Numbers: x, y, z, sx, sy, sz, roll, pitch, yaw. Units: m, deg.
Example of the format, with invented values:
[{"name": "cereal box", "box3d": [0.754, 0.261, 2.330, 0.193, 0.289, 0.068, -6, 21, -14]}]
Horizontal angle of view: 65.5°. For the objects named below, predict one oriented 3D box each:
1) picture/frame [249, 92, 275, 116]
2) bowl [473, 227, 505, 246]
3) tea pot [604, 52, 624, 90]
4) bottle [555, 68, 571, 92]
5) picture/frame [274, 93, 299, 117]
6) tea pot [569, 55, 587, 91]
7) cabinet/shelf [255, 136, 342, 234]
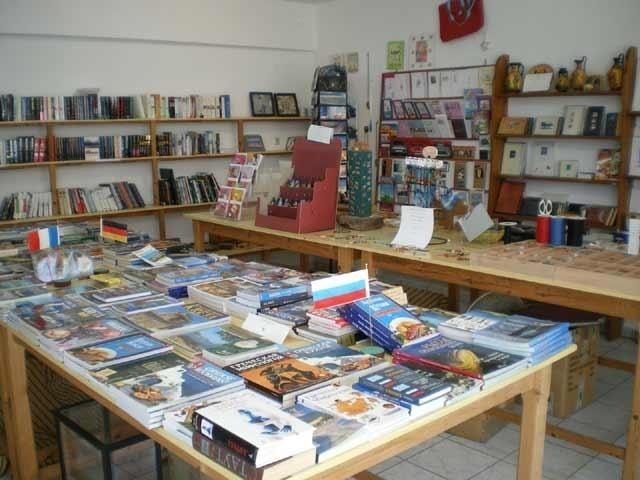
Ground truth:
[{"name": "picture/frame", "box3d": [-0.932, -2.188, 7.995, 0.524, 0.406, 0.179, -4, 5, -37]}, {"name": "bowl", "box3d": [1.298, -0.032, 3.789, 0.189, 0.094, 0.174, -15, -5, -1]}, {"name": "tea pot", "box3d": [3.131, -1.794, 5.281, 0.151, 0.400, 0.333, 9, 17, 26]}, {"name": "bottle", "box3d": [2.762, -1.836, 5.675, 0.159, 0.284, 0.342, 7, 16, 21]}, {"name": "picture/frame", "box3d": [-0.556, -2.244, 8.233, 0.496, 0.351, 0.049, -17, -2, -42]}, {"name": "tea pot", "box3d": [2.887, -1.865, 5.557, 0.169, 0.379, 0.318, 8, 16, 23]}, {"name": "cabinet/shelf", "box3d": [-0.227, -0.514, 4.572, 0.598, 0.757, 0.688, -16, 19, -30]}]
